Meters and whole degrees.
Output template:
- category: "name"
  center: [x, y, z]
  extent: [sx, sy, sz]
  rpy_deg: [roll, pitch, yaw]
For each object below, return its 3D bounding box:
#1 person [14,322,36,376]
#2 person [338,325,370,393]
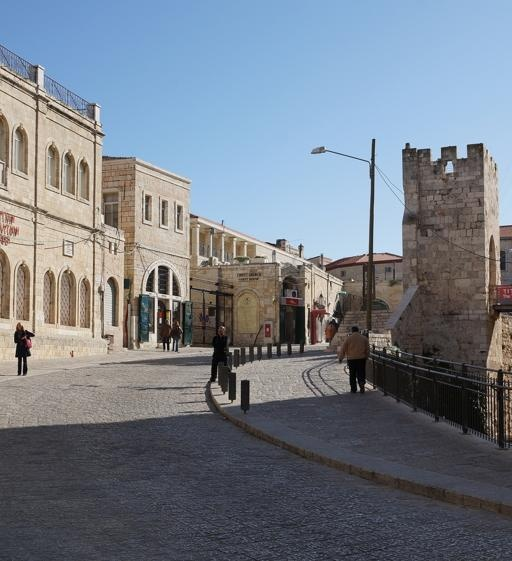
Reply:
- category: "person"
  center: [-6.193, 1.723, 23.939]
  extent: [0.469, 1.441, 0.384]
  rpy_deg: [-3, 31, -17]
- category: "person"
  center: [2.094, 1.669, 19.167]
  extent: [0.623, 1.387, 1.003]
  rpy_deg: [0, -4, 6]
